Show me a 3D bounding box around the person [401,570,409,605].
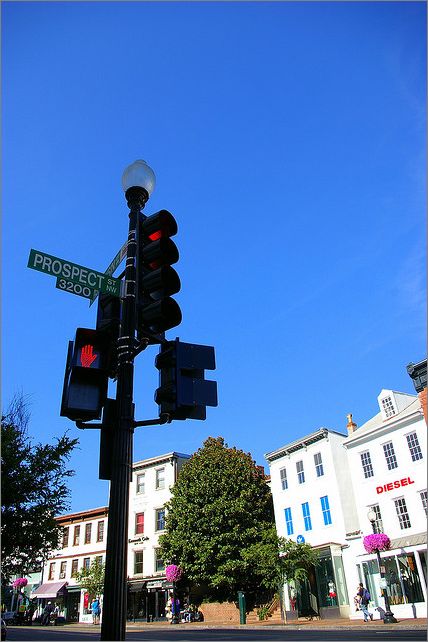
[{"bbox_3d":[8.869,12.532,21.953,0.219,1.288,0.599,-16,-30,22],"label":"person"}]

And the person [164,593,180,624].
[{"bbox_3d":[-2.828,19.537,31.385,0.819,1.371,1.650,0,-29,-9],"label":"person"}]

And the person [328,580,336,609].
[{"bbox_3d":[6.306,14.715,25.060,0.472,1.168,1.385,-9,-29,9],"label":"person"}]

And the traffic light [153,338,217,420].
[{"bbox_3d":[-0.236,0.439,3.586,0.481,0.803,0.518,-3,-28,-2],"label":"traffic light"}]

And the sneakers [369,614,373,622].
[{"bbox_3d":[7.036,13.426,21.094,0.102,0.252,0.364,-10,-29,11],"label":"sneakers"}]

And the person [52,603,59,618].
[{"bbox_3d":[-15.498,28.505,45.873,0.602,1.128,1.782,5,-30,-17],"label":"person"}]

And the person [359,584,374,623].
[{"bbox_3d":[7.092,13.338,22.142,0.536,1.444,3.290,-11,-30,12],"label":"person"}]

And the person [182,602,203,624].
[{"bbox_3d":[-1.560,20.117,32.078,1.469,0.991,2.888,1,-30,-11],"label":"person"}]

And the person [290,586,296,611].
[{"bbox_3d":[4.813,17.143,28.960,0.389,1.329,1.278,-7,-28,5],"label":"person"}]
